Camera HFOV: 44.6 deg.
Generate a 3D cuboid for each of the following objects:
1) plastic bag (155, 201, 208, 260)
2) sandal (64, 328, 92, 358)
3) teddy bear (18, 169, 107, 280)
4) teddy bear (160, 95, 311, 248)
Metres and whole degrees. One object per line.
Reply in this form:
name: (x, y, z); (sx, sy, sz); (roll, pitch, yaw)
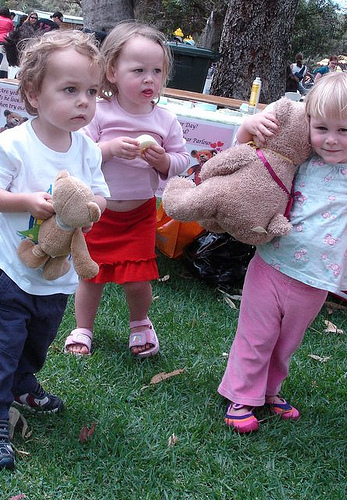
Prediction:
plastic bag: (0.047, -0.149, 3.490); (0.472, 0.415, 0.423); (10, 24, 3)
sandal: (-0.480, 0.450, 2.164); (0.140, 0.075, 0.226); (8, 15, -5)
teddy bear: (-0.316, -0.055, 1.189); (0.217, 0.349, 0.277); (6, 21, -16)
teddy bear: (0.230, -0.280, 1.561); (0.493, 0.565, 0.292); (11, 21, -2)
